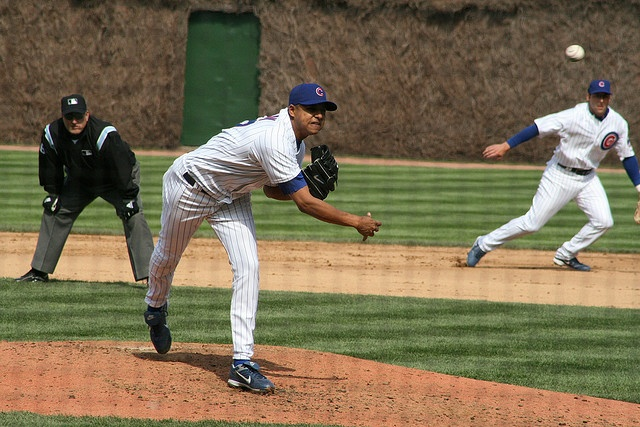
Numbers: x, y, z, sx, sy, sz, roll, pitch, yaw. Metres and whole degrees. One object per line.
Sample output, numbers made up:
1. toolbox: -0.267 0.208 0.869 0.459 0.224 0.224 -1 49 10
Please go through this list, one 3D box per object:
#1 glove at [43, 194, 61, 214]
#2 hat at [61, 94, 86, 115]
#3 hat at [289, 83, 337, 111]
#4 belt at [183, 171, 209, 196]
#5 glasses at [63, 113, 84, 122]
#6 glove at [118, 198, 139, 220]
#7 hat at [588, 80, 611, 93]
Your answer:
1. glove: -4.860 -0.182 23.342 0.219 0.420 0.306 -20 -4 22
2. hat: -4.387 -1.972 23.017 0.304 0.236 0.430 0 5 -5
3. hat: -0.137 -1.879 20.809 0.615 0.334 0.431 0 1 27
4. belt: -1.985 -0.526 20.880 0.386 0.098 0.284 45 -9 -13
5. glasses: -4.362 -1.731 22.857 0.329 0.164 0.067 0 15 -14
6. glove: -3.429 -0.087 23.165 0.364 0.389 0.214 2 15 -5
7. hat: 5.300 -2.388 24.157 0.372 0.247 0.526 7 16 13
